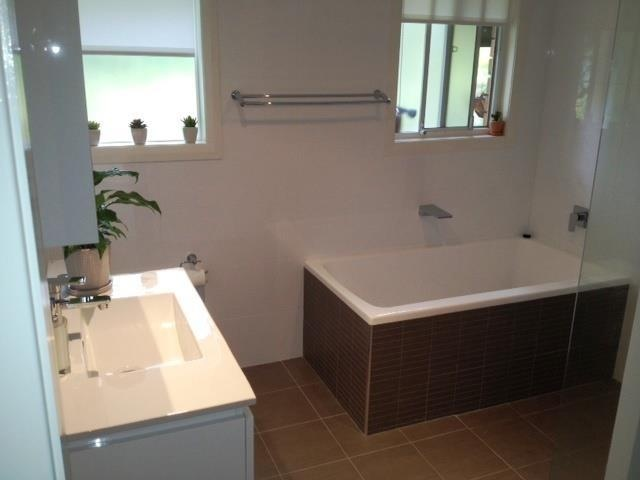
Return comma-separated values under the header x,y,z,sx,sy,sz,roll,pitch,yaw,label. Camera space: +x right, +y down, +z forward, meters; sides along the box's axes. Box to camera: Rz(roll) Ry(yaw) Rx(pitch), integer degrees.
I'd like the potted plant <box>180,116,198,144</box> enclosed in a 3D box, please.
x,y,z,sx,sy,sz,roll,pitch,yaw,label
-0.715,-0.609,2.782,0.082,0.146,0.098,-8,18,-13,potted plant

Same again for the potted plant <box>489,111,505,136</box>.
x,y,z,sx,sy,sz,roll,pitch,yaw,label
1.231,-0.812,3.516,0.095,0.160,0.077,2,18,20,potted plant

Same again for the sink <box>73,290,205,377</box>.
x,y,z,sx,sy,sz,roll,pitch,yaw,label
-0.618,0.340,1.727,0.340,0.190,0.428,-13,19,-24,sink

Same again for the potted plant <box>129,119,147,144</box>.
x,y,z,sx,sy,sz,roll,pitch,yaw,label
-0.967,-0.580,2.697,0.088,0.135,0.131,-10,18,-18,potted plant

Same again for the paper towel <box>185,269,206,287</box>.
x,y,z,sx,sy,sz,roll,pitch,yaw,label
-0.679,0.187,2.758,0.116,0.088,0.087,-6,27,-32,paper towel

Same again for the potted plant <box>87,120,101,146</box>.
x,y,z,sx,sy,sz,roll,pitch,yaw,label
-1.152,-0.546,2.589,0.054,0.126,0.168,-11,19,-20,potted plant
